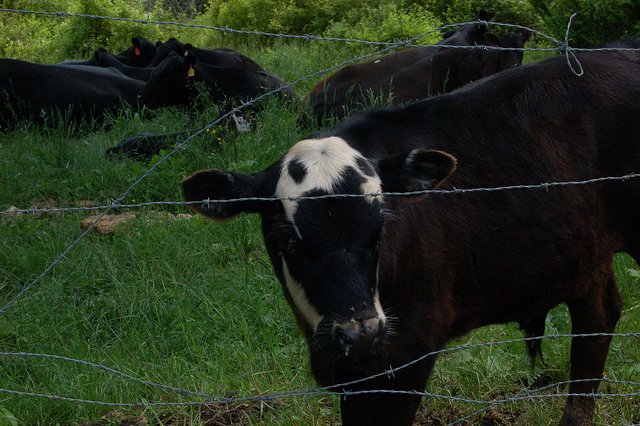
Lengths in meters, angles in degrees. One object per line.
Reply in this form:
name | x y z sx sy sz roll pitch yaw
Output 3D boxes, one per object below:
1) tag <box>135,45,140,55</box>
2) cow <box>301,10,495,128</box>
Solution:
tag | -3.608 -3.197 14.992 0.051 0.175 0.025 2 19 4
cow | 1.421 -1.709 11.404 3.075 1.739 0.947 -20 17 1
